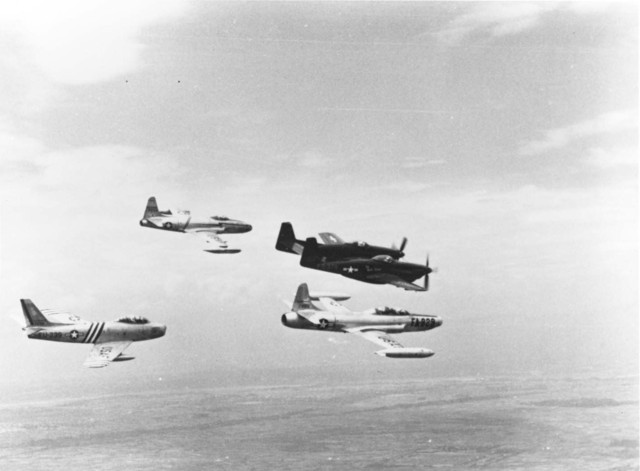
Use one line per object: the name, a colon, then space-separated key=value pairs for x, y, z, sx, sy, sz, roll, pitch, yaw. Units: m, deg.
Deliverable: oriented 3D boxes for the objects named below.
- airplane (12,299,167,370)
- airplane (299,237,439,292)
airplane: x=-6.941 y=2.780 z=32.606 sx=4.616 sy=1.126 sz=4.131 roll=2 pitch=20 yaw=-19
airplane: x=1.493 y=0.910 z=35.240 sx=4.588 sy=1.146 sz=4.492 roll=4 pitch=11 yaw=-21
